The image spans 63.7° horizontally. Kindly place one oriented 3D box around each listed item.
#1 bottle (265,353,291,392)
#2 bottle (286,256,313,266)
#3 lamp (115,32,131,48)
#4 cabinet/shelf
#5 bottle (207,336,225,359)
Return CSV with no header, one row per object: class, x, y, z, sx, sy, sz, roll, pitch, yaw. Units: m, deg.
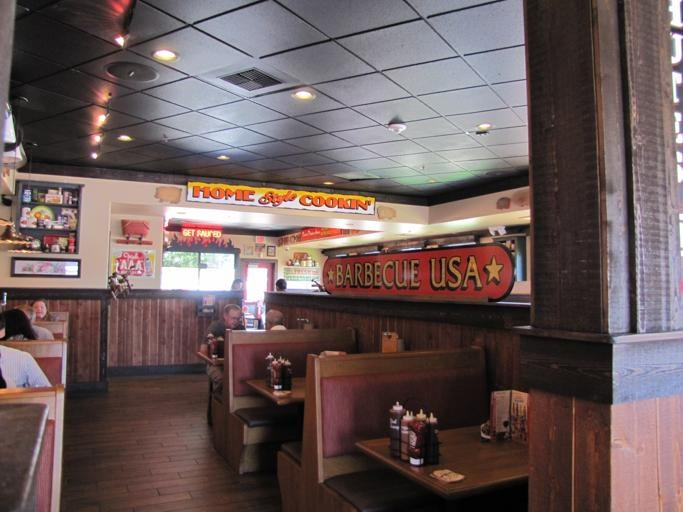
bottle,-0.519,0.966,4.600,0.250,0.290,0.274,1,2,36
bottle,-1.269,0.130,17.411,0.165,0.332,1.136,0,-2,42
lamp,-1.789,-1.783,4.489,0.072,0.065,0.124,-44,33,-16
cabinet/shelf,-4.236,-0.554,7.833,1.140,1.291,0.328,3,-7,-27
bottle,-1.439,0.991,5.994,0.164,0.239,0.269,6,-9,-42
